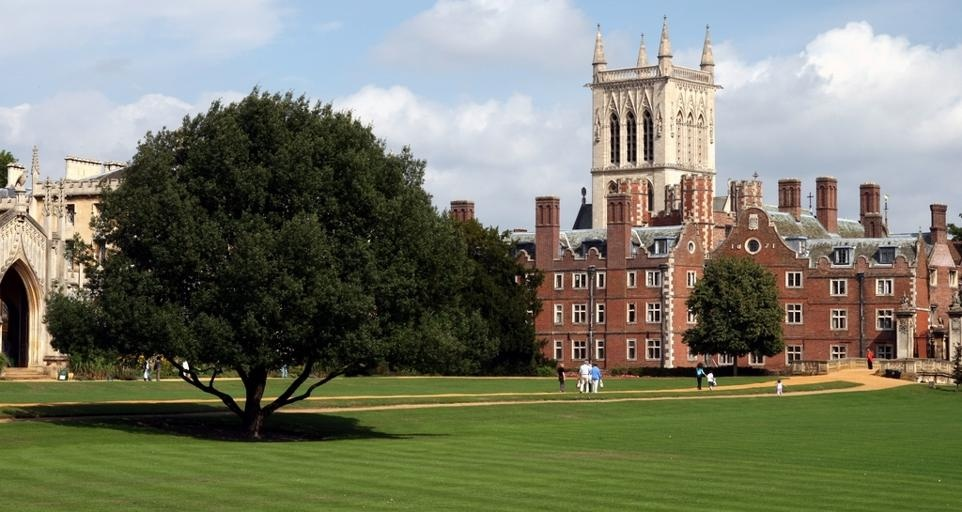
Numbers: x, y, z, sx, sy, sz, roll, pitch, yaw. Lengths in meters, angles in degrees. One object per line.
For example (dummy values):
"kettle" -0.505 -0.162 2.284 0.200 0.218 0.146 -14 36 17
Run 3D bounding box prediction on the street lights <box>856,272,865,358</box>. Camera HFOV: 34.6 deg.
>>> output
"street lights" 32.827 5.095 132.959 0.611 7.035 0.618 -1 -3 13

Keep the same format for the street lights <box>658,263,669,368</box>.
"street lights" 16.441 5.229 136.511 0.885 8.881 0.685 -1 -3 9

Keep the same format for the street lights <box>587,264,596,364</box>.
"street lights" 9.976 5.143 139.683 0.764 8.317 0.635 -2 -3 22
